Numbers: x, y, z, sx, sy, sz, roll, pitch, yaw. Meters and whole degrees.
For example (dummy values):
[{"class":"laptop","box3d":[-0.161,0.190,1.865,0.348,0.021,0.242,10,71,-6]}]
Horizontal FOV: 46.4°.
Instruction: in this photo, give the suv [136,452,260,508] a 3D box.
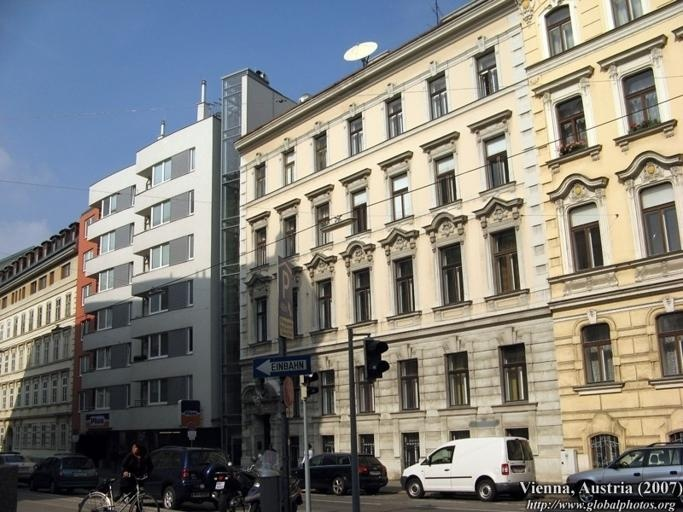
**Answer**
[{"class":"suv","box3d":[-5.921,8.501,30.641,2.248,1.868,4.105,8,-17,-28]}]

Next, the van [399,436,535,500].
[{"class":"van","box3d":[5.254,8.788,32.588,4.673,2.216,2.618,-15,-27,40]}]

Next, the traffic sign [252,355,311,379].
[{"class":"traffic sign","box3d":[-1.841,3.313,24.137,1.665,0.730,1.133,0,-22,-4]}]

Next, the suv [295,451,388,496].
[{"class":"suv","box3d":[-0.195,9.810,35.770,4.126,1.388,1.877,-12,-22,39]}]
